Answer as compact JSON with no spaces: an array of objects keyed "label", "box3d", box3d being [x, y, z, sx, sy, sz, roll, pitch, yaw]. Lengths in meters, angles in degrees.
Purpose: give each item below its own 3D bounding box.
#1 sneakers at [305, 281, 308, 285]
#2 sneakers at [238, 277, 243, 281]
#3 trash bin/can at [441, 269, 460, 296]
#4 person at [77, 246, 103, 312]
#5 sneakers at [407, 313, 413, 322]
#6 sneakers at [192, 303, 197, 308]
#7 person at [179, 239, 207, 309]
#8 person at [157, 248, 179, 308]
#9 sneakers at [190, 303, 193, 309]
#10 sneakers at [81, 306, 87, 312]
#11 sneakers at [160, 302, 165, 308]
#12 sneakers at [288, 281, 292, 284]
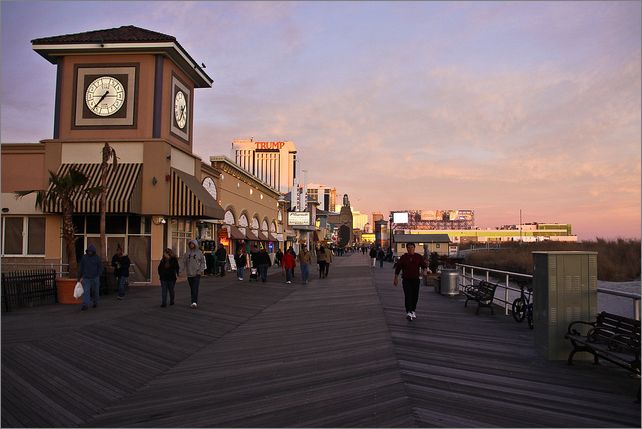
[{"label":"sneakers","box3d":[-0.759,3.635,27.598,0.062,0.201,0.185,-15,31,13]},{"label":"sneakers","box3d":[-4.388,3.557,28.540,0.121,0.161,0.357,0,-5,-33]},{"label":"trash bin/can","box3d":[5.461,2.884,21.959,0.734,1.060,0.494,0,2,11]},{"label":"person","box3d":[-7.896,2.170,17.816,0.718,2.151,0.677,-1,2,-39]},{"label":"sneakers","box3d":[2.706,3.099,15.687,0.194,0.218,0.215,0,2,6]},{"label":"sneakers","box3d":[-4.383,3.157,17.969,0.081,0.157,0.216,0,-5,-1]},{"label":"person","box3d":[-4.493,2.063,18.156,0.843,2.333,0.716,0,1,-9]},{"label":"person","box3d":[-5.277,2.216,17.996,0.665,2.020,1.429,0,2,-20]},{"label":"sneakers","box3d":[-4.448,3.168,17.925,0.077,0.116,0.105,0,-11,-2]},{"label":"sneakers","box3d":[-7.931,3.161,17.438,0.186,0.138,0.256,-1,2,-29]},{"label":"sneakers","box3d":[-5.393,3.109,17.753,0.149,0.139,0.346,-1,2,-21]},{"label":"sneakers","box3d":[-1.613,3.561,27.052,0.144,0.167,0.406,-2,-13,-1]}]
